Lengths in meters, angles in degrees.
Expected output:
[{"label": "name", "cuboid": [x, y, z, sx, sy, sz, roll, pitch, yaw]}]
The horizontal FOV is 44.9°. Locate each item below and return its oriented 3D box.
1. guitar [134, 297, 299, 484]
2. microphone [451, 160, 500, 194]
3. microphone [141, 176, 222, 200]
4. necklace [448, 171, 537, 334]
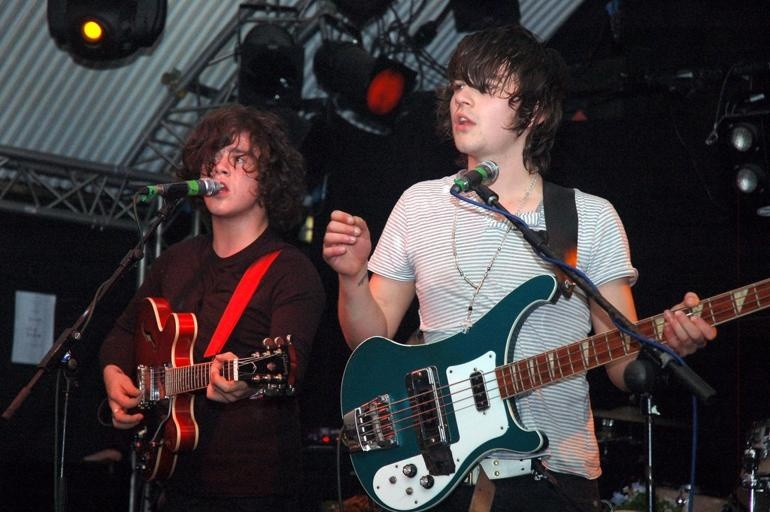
[{"label": "guitar", "cuboid": [-1.156, 0.802, 5.873, 1.203, 1.185, 0.338, -11, -15, 37]}, {"label": "microphone", "cuboid": [0.507, -0.443, 5.298, 0.270, 0.140, 0.154, -26, 32, -35]}, {"label": "microphone", "cuboid": [-1.298, -0.427, 6.084, 0.743, 0.177, 0.171, -4, 3, -38]}, {"label": "necklace", "cuboid": [0.624, -0.002, 5.608, 0.316, 1.204, 0.121, 12, -7, 23]}]
